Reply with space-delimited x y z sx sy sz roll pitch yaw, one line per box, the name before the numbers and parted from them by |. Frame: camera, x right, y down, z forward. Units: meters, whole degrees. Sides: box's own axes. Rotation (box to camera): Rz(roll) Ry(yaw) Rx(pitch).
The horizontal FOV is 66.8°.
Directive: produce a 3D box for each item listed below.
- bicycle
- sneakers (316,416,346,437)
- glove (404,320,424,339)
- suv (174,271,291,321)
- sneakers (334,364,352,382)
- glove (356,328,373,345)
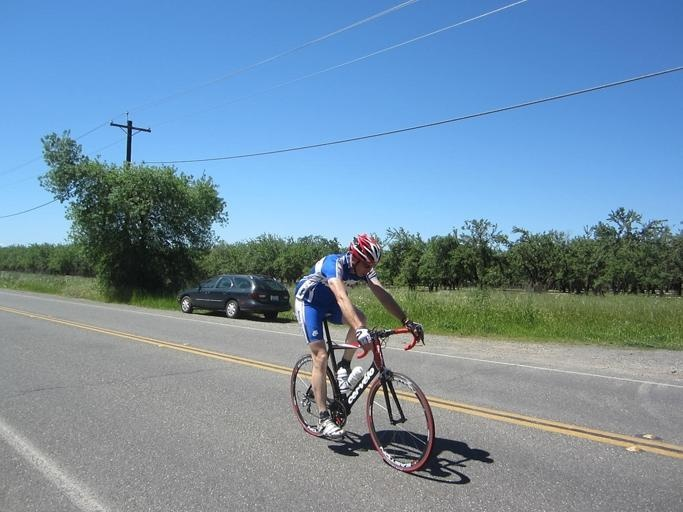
bicycle | 0.196 1.488 5.907 1.971 1.594 0.474 3 4 40
sneakers | -0.103 1.950 5.863 0.141 0.179 0.344 6 -16 -32
glove | 0.788 0.793 5.586 0.132 0.115 0.213 5 20 -41
suv | -3.888 1.412 18.627 4.130 1.478 1.212 2 3 31
sneakers | 0.023 1.383 5.989 0.107 0.165 0.150 5 -10 -25
glove | 0.238 0.865 5.483 0.165 0.183 0.119 1 3 3
